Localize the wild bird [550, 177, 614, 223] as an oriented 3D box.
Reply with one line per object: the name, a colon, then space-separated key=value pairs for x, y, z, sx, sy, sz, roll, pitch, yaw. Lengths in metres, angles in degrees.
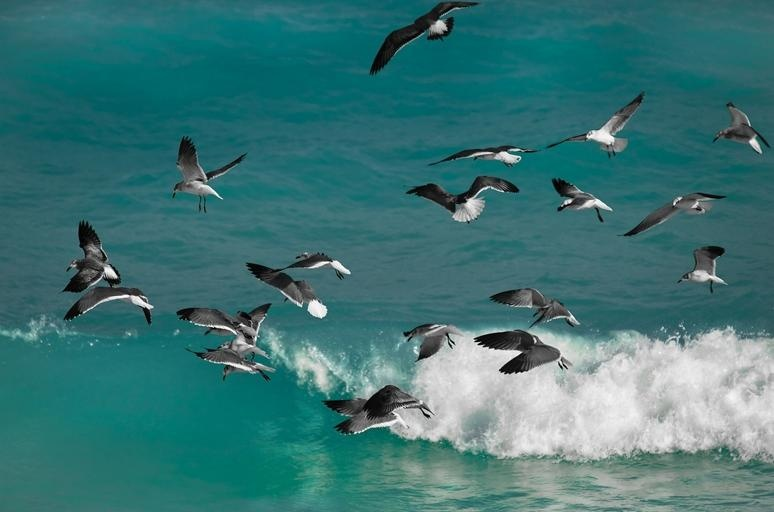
wild bird: x=6.195 y=-2.084 z=37.813 sx=1.610 sy=2.191 sz=0.658 roll=7 pitch=89 yaw=19

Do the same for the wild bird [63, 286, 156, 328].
wild bird: x=-8.939 y=1.304 z=36.161 sx=1.763 sy=2.901 sz=0.593 roll=17 pitch=104 yaw=30

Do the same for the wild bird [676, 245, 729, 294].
wild bird: x=10.487 y=0.207 z=37.419 sx=1.020 sy=1.582 sz=0.927 roll=17 pitch=50 yaw=0

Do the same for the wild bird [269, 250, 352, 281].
wild bird: x=-2.312 y=0.205 z=36.580 sx=1.586 sy=1.874 sz=0.539 roll=-7 pitch=89 yaw=15
